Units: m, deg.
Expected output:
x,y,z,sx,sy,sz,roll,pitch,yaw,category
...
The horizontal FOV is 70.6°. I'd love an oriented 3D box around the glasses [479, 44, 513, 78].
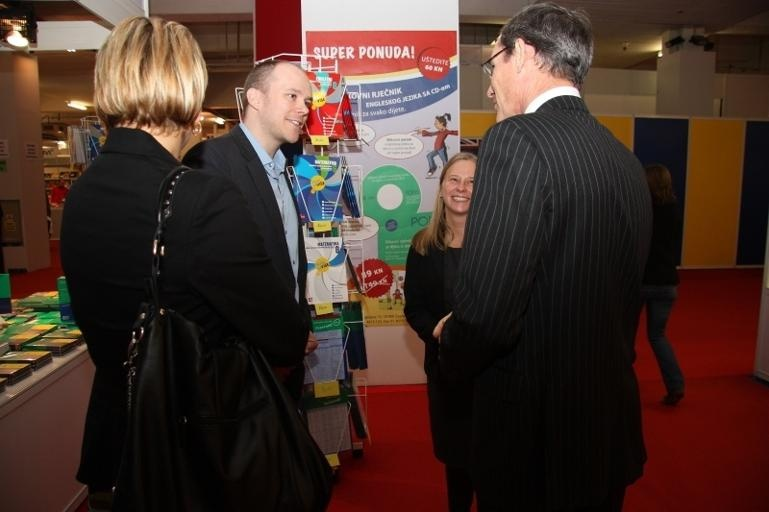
x,y,z,sx,sy,sz,roll,pitch,yaw,category
0.427,-0.779,2.165,0.037,0.141,0.135,36,11,3,glasses
